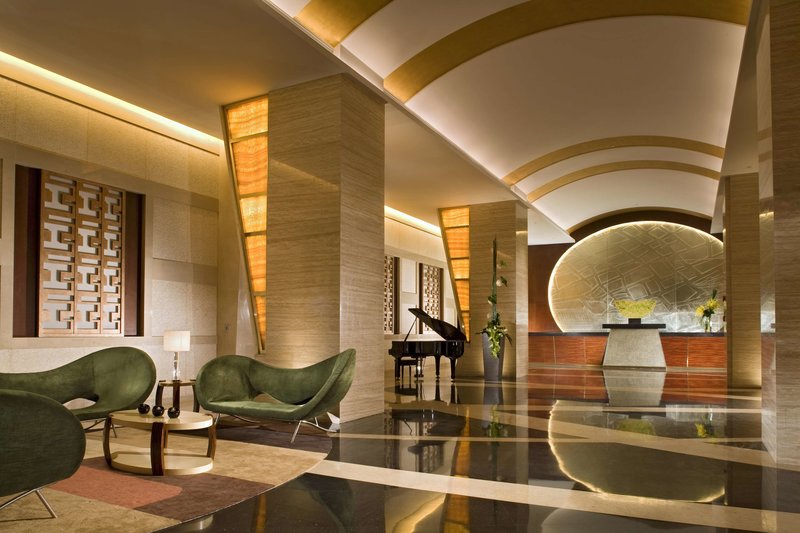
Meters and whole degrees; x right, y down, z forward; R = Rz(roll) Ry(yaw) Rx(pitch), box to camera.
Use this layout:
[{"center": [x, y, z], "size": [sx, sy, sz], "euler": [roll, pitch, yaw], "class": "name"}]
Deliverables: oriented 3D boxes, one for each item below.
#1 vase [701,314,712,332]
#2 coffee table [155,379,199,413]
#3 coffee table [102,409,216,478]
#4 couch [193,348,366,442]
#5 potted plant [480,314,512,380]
[{"center": [10.803, 1.999, 18.432], "size": [0.348, 0.535, 0.861], "euler": [-5, -10, 28], "class": "vase"}, {"center": [-3.211, 1.885, 7.546], "size": [0.495, 0.438, 0.484], "euler": [-8, -11, 33], "class": "coffee table"}, {"center": [-2.534, 1.884, 5.847], "size": [1.410, 0.528, 1.341], "euler": [1, -3, -13], "class": "coffee table"}, {"center": [-1.715, 1.707, 7.046], "size": [2.289, 0.877, 0.995], "euler": [-3, -3, 25], "class": "couch"}, {"center": [2.406, 2.009, 13.077], "size": [0.674, 1.595, 0.968], "euler": [-1, -10, 10], "class": "potted plant"}]
